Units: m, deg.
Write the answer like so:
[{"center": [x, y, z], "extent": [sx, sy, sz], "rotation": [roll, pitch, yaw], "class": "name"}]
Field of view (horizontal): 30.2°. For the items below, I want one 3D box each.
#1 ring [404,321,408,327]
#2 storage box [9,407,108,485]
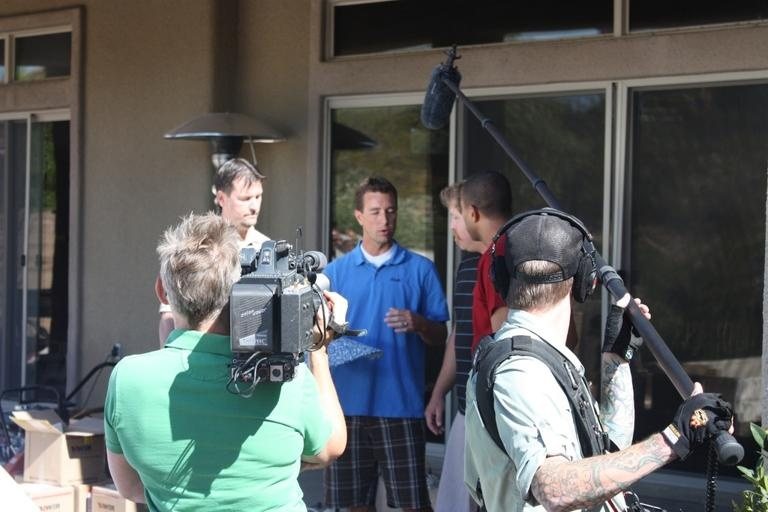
[{"center": [0.178, 0.536, 10.928], "extent": [0.022, 0.030, 0.021], "rotation": [2, 3, 0], "class": "ring"}, {"center": [-2.585, 1.595, 11.677], "extent": [0.769, 0.555, 0.828], "rotation": [-1, -5, 39], "class": "storage box"}]
